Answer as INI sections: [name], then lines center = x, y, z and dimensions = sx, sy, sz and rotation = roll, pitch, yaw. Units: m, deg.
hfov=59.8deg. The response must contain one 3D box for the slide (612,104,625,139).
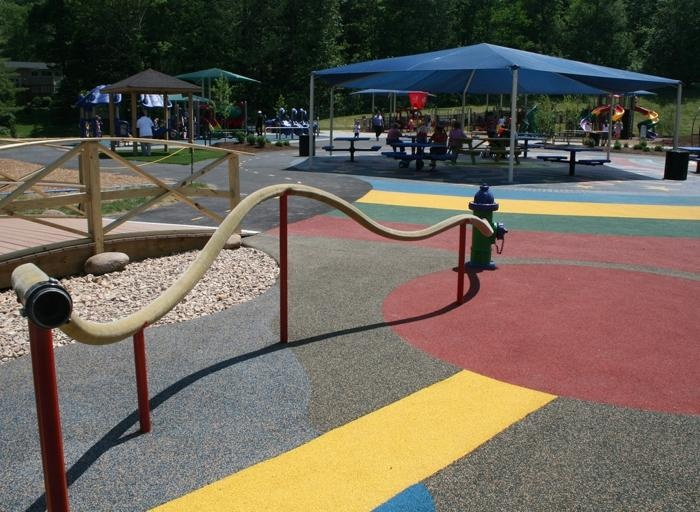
[slide]
center = 18.582, -9.401, 42.580
dimensions = 0.715, 2.473, 5.464
rotation = 11, 15, 22
